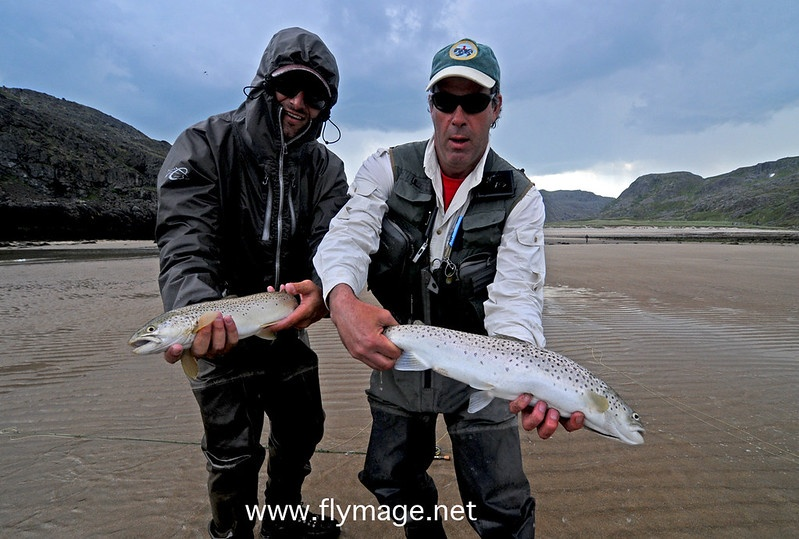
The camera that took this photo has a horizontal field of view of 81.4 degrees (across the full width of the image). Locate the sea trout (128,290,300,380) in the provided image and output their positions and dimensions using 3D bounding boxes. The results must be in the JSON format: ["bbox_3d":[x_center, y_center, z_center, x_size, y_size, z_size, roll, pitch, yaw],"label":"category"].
[{"bbox_3d":[-1.981,0.568,5.080,1.848,0.804,0.813,-14,-18,-20],"label":"sea trout"}]

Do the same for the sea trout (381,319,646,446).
[{"bbox_3d":[1.112,1.079,4.798,3.028,0.528,0.909,18,48,12],"label":"sea trout"}]
